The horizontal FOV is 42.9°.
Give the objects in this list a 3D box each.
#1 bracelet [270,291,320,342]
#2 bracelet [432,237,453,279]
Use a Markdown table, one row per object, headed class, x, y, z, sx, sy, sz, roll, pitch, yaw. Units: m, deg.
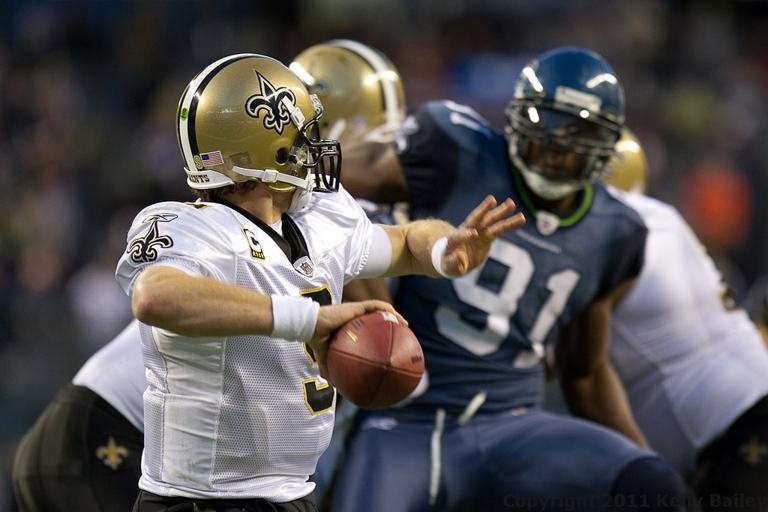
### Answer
| class | x | y | z | sx | sy | sz | roll | pitch | yaw |
| --- | --- | --- | --- | --- | --- | --- | --- | --- | --- |
| bracelet | -0.406 | 0.282 | 4.532 | 0.228 | 0.169 | 0.179 | 13 | -1 | -9 |
| bracelet | 0.280 | 0.002 | 4.907 | 0.070 | 0.168 | 0.147 | 0 | -18 | 3 |
